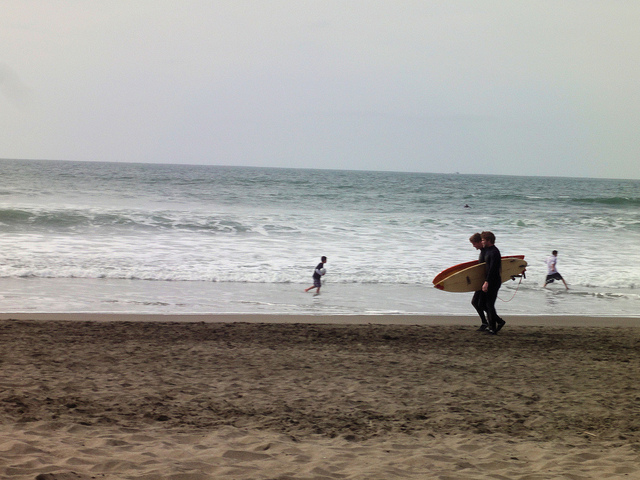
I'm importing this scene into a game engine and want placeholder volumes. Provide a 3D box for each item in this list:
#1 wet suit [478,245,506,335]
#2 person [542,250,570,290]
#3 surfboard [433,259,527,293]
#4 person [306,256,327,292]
[{"bbox_3d":[3.106,0.905,13.980,0.484,1.645,0.924,3,-3,12],"label":"wet suit"},{"bbox_3d":[6.091,0.837,19.912,0.654,0.797,0.450,2,-3,11],"label":"person"},{"bbox_3d":[2.981,0.721,14.926,2.349,0.459,0.314,-11,13,-23],"label":"surfboard"},{"bbox_3d":[-0.132,0.891,19.720,0.752,1.054,0.432,5,40,-10],"label":"person"}]
